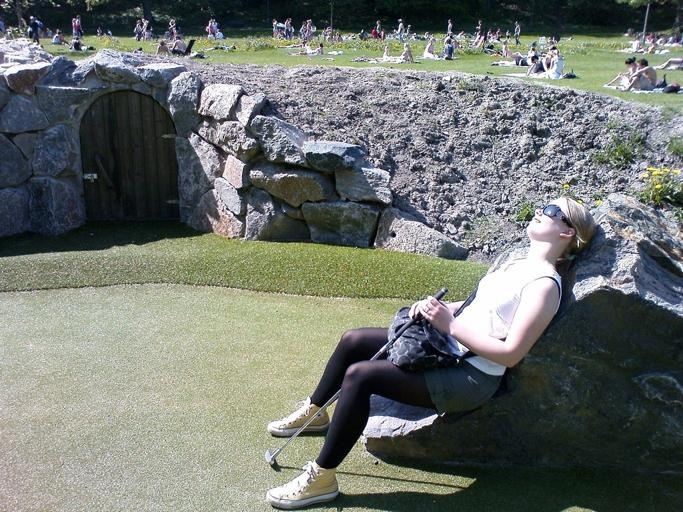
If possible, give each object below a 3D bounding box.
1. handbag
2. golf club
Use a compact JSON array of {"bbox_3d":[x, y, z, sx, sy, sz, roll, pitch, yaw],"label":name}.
[{"bbox_3d":[0.950,0.836,9.688,0.927,0.377,0.740,-28,57,25],"label":"handbag"},{"bbox_3d":[0.159,1.396,10.265,0.326,0.200,2.290,41,82,20],"label":"golf club"}]
